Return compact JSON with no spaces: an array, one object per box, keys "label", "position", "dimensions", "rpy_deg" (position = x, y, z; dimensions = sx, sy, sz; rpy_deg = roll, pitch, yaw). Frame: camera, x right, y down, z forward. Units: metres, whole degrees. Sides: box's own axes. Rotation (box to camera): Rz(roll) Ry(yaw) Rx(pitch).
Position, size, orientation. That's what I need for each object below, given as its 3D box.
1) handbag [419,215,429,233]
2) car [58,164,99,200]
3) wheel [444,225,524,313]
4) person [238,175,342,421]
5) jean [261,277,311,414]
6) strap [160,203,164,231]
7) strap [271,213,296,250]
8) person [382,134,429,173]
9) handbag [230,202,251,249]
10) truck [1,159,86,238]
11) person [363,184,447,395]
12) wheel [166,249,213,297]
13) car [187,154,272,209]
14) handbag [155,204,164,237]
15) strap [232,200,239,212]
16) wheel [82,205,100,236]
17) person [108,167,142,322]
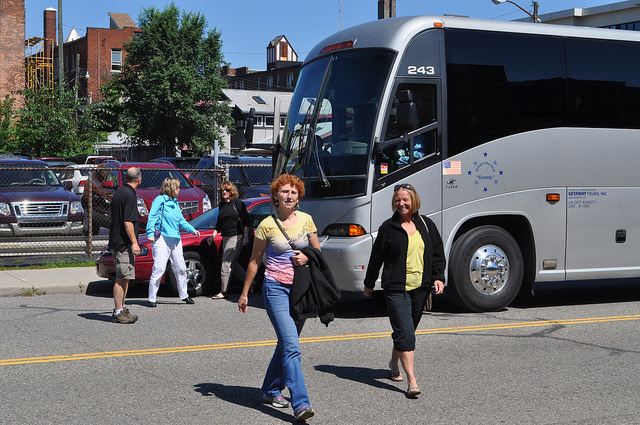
[{"label":"handbag","position":[1.362,0.124,8.258],"dimensions":[0.036,0.158,0.150],"rpy_deg":[-29,-9,-8]},{"label":"car","position":[-7.892,-0.962,20.791],"dimensions":[1.130,1.089,2.339],"rpy_deg":[-3,9,-20]},{"label":"wheel","position":[2.979,0.995,11.585],"dimensions":[1.436,1.561,0.573],"rpy_deg":[-4,3,-20]},{"label":"person","position":[-0.329,0.948,7.523],"dimensions":[1.039,2.776,0.639],"rpy_deg":[1,3,33]},{"label":"jean","position":[-0.392,1.527,7.451],"dimensions":[0.354,1.493,0.805],"rpy_deg":[-2,3,-28]},{"label":"strap","position":[-2.996,0.086,12.099],"dimensions":[0.079,0.474,0.034],"rpy_deg":[-1,3,-21]},{"label":"strap","position":[-0.425,0.244,7.521],"dimensions":[0.054,0.438,0.063],"rpy_deg":[-26,-1,-10]},{"label":"person","position":[1.532,-1.057,11.142],"dimensions":[0.867,0.507,0.315],"rpy_deg":[-26,35,-29]},{"label":"handbag","position":[-1.628,0.249,13.046],"dimensions":[0.528,0.773,0.341],"rpy_deg":[-4,7,37]},{"label":"truck","position":[-8.057,-0.431,18.218],"dimensions":[1.636,1.361,2.874],"rpy_deg":[0,0,-24]},{"label":"person","position":[1.099,0.939,8.128],"dimensions":[1.032,2.569,0.642],"rpy_deg":[0,3,6]},{"label":"wheel","position":[-2.684,1.236,12.971],"dimensions":[0.937,1.017,0.310],"rpy_deg":[-2,-6,-24]},{"label":"car","position":[-2.866,-1.223,22.767],"dimensions":[3.210,1.889,2.020],"rpy_deg":[-1,3,-15]},{"label":"handbag","position":[-3.017,0.219,12.092],"dimensions":[0.088,0.398,0.283],"rpy_deg":[6,11,1]},{"label":"strap","position":[-1.712,-0.116,12.988],"dimensions":[0.028,0.243,0.037],"rpy_deg":[-31,4,-41]},{"label":"wheel","position":[-6.770,0.235,18.889],"dimensions":[0.427,0.990,3.008],"rpy_deg":[-1,4,-19]},{"label":"person","position":[-3.446,0.552,11.243],"dimensions":[0.521,2.665,0.744],"rpy_deg":[-1,3,-18]}]
